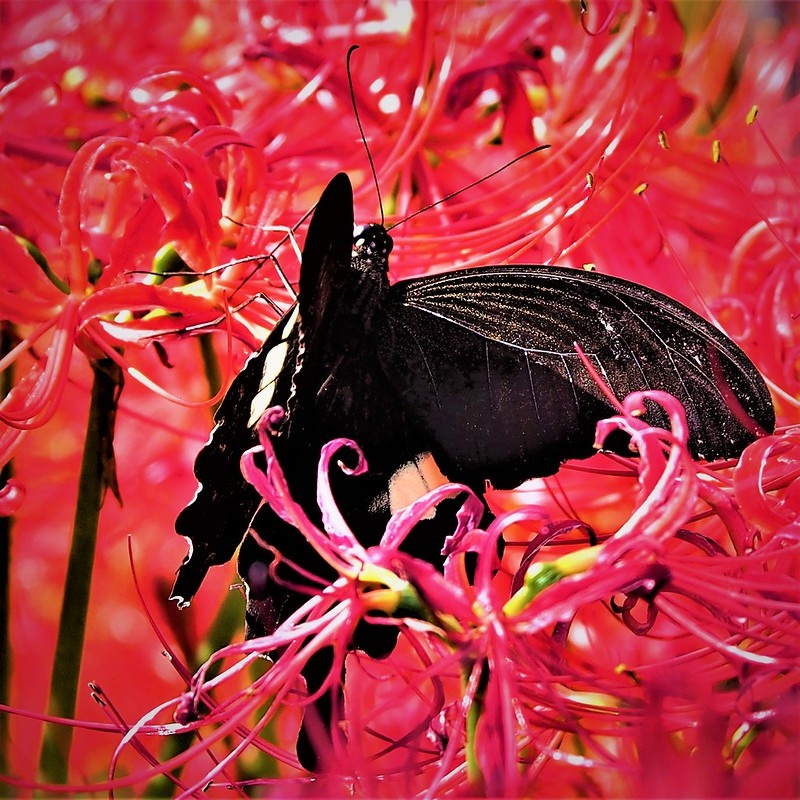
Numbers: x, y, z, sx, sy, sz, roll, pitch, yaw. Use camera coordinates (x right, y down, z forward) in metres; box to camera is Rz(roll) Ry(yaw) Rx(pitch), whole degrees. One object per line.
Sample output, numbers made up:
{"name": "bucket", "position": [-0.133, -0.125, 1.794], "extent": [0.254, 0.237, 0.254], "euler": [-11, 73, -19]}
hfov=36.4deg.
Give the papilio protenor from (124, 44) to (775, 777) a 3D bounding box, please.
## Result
{"name": "papilio protenor", "position": [0.001, 0.007, 1.675], "extent": [0.490, 0.583, 0.476], "euler": [15, 75, -20]}
